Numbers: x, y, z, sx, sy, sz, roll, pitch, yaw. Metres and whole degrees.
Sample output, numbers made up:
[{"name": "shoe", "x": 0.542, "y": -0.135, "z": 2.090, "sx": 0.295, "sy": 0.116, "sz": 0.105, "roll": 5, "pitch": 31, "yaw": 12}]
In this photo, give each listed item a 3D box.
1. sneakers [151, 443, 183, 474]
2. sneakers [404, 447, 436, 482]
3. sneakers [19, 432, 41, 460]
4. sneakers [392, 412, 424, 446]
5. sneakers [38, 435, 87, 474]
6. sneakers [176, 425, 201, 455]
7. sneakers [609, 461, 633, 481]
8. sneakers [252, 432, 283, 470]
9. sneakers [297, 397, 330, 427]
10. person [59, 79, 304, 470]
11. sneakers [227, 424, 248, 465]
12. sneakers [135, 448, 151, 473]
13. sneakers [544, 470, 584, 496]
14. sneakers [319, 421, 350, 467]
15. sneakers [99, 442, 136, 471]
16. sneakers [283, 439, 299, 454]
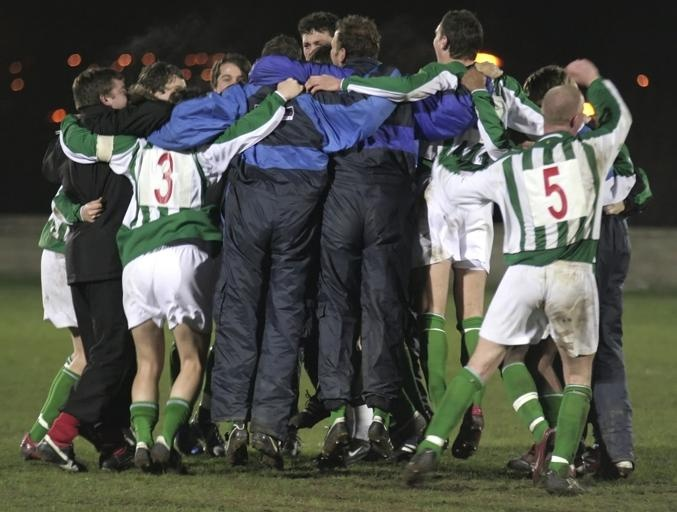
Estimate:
[{"name": "sneakers", "x": -1.293, "y": 1.575, "z": 9.228, "sx": 0.259, "sy": 0.253, "sz": 0.221, "roll": 1, "pitch": -3, "yaw": -7}, {"name": "sneakers", "x": 0.603, "y": 1.579, "z": 8.895, "sx": 0.155, "sy": 0.271, "sz": 0.112, "roll": 40, "pitch": -13, "yaw": 6}, {"name": "sneakers", "x": -2.436, "y": 1.556, "z": 9.596, "sx": 0.109, "sy": 0.132, "sz": 0.303, "roll": 10, "pitch": 15, "yaw": -26}, {"name": "sneakers", "x": 0.560, "y": 1.435, "z": 9.703, "sx": 0.226, "sy": 0.269, "sz": 0.288, "roll": 7, "pitch": -11, "yaw": -39}, {"name": "sneakers", "x": -2.135, "y": 1.601, "z": 9.461, "sx": 0.459, "sy": 0.214, "sz": 0.170, "roll": 29, "pitch": -13, "yaw": -19}, {"name": "sneakers", "x": -1.214, "y": 1.525, "z": 9.775, "sx": 0.201, "sy": 0.238, "sz": 0.266, "roll": -3, "pitch": 39, "yaw": -7}, {"name": "sneakers", "x": 2.161, "y": 1.658, "z": 9.214, "sx": 0.121, "sy": 0.117, "sz": 0.134, "roll": -16, "pitch": -41, "yaw": 33}, {"name": "sneakers", "x": -0.542, "y": 1.521, "z": 9.258, "sx": 0.231, "sy": 0.280, "sz": 0.140, "roll": 1, "pitch": -3, "yaw": -4}, {"name": "sneakers", "x": -0.225, "y": 1.316, "z": 9.894, "sx": 0.274, "sy": 0.211, "sz": 0.100, "roll": -41, "pitch": 16, "yaw": -10}, {"name": "person", "x": -1.299, "y": 0.154, "z": 9.446, "sx": 1.575, "sy": 3.008, "sz": 0.629, "roll": 1, "pitch": -3, "yaw": -14}, {"name": "sneakers", "x": -0.764, "y": 1.468, "z": 9.220, "sx": 0.127, "sy": 0.159, "sz": 0.345, "roll": -7, "pitch": -37, "yaw": -17}, {"name": "sneakers", "x": -1.478, "y": 1.568, "z": 9.172, "sx": 0.084, "sy": 0.206, "sz": 0.101, "roll": -17, "pitch": 22, "yaw": -2}, {"name": "sneakers", "x": 1.645, "y": 1.715, "z": 8.952, "sx": 0.372, "sy": 0.178, "sz": 0.138, "roll": 2, "pitch": 0, "yaw": -20}, {"name": "sneakers", "x": -0.034, "y": 1.503, "z": 9.413, "sx": 0.171, "sy": 0.191, "sz": 0.475, "roll": 5, "pitch": -36, "yaw": -8}, {"name": "sneakers", "x": -1.730, "y": 1.621, "z": 9.488, "sx": 0.363, "sy": 0.173, "sz": 0.130, "roll": -4, "pitch": -4, "yaw": -16}, {"name": "sneakers", "x": -0.379, "y": 1.598, "z": 9.875, "sx": 0.099, "sy": 0.115, "sz": 0.132, "roll": 2, "pitch": 12, "yaw": -4}]
